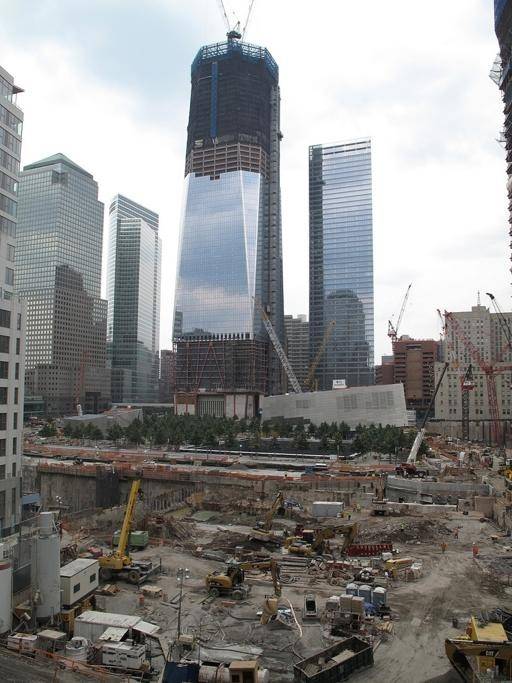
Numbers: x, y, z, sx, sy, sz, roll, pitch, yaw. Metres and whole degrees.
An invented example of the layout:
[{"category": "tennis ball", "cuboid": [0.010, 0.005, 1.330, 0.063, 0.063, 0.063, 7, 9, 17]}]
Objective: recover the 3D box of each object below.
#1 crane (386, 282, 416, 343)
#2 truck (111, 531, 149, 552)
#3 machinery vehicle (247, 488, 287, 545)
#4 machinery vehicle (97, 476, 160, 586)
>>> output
[{"category": "crane", "cuboid": [31.759, -4.052, 167.398, 2.757, 6.902, 16.948, -1, 26, 28]}, {"category": "truck", "cuboid": [-11.385, 18.047, 68.598, 2.829, 2.025, 2.056, -1, 0, 8]}, {"category": "machinery vehicle", "cuboid": [0.888, 16.542, 72.436, 2.653, 4.793, 6.444, 0, -4, 0]}, {"category": "machinery vehicle", "cuboid": [-10.535, 14.801, 59.997, 3.233, 7.635, 5.144, 0, -4, 4]}]
